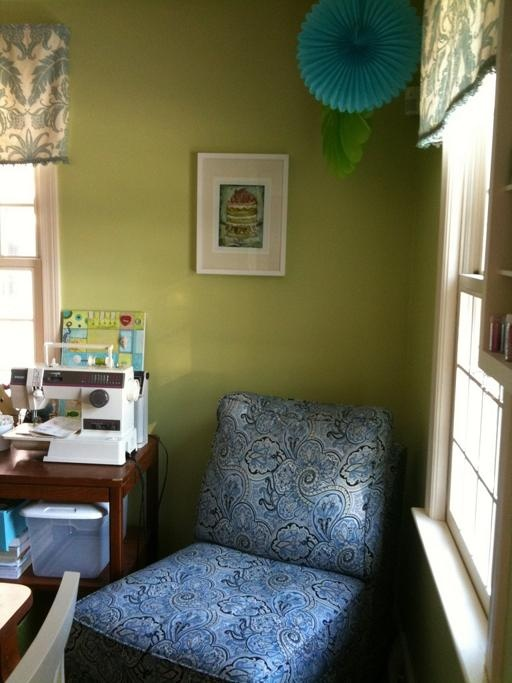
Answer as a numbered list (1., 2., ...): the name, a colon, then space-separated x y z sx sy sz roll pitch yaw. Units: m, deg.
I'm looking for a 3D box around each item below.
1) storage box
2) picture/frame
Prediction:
1. storage box: -0.651 0.704 2.040 0.330 0.242 0.242 0 1 -3
2. picture/frame: -0.049 -0.578 2.451 0.495 0.688 0.045 1 4 2
